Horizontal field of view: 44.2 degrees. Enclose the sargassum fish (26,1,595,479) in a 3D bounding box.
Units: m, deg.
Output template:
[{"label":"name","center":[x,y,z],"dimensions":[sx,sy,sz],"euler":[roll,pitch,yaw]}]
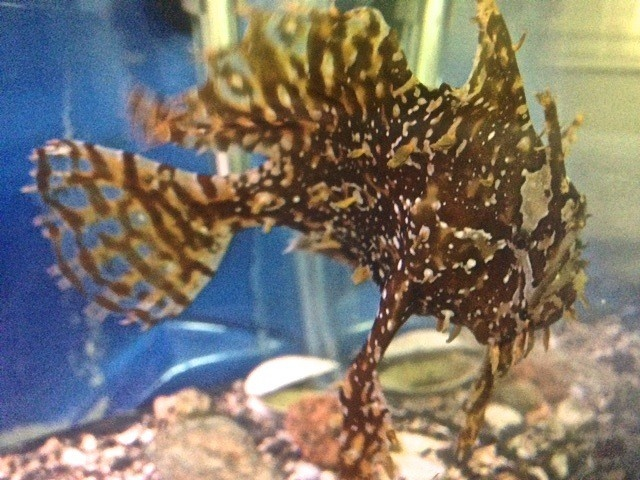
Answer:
[{"label":"sargassum fish","center":[-0.067,-0.121,1.181],"dimensions":[0.884,0.632,0.351],"euler":[5,13,3]}]
